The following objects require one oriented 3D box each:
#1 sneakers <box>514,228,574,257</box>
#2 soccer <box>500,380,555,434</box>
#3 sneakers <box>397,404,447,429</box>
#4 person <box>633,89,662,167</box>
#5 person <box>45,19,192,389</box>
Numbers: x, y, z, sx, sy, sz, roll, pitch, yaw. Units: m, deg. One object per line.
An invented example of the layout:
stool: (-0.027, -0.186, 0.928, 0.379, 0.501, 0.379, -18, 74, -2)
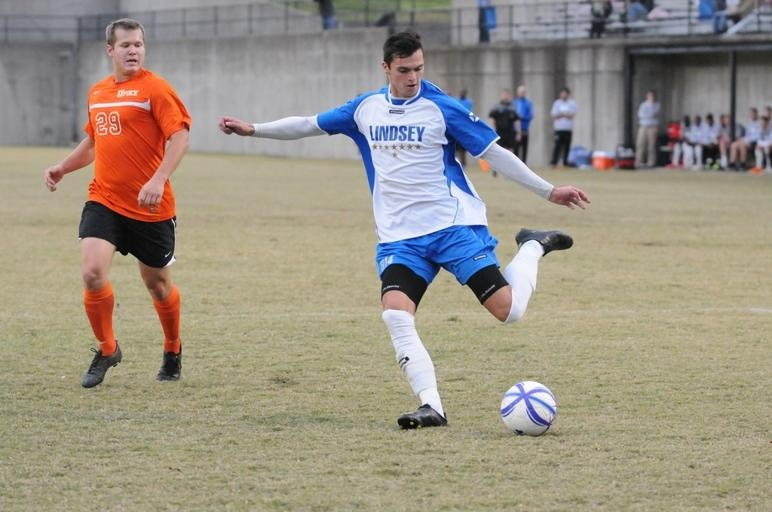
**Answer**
sneakers: (1.326, -0.164, 13.267, 0.646, 0.185, 0.263, -5, -18, -2)
soccer: (1.187, 1.262, 12.408, 0.459, 0.406, 0.416, -6, -13, 8)
sneakers: (0.293, 1.326, 12.363, 0.418, 0.180, 0.164, 5, -12, -20)
person: (2.428, -1.173, 13.860, 0.223, 0.702, 0.131, 3, 7, 17)
person: (-2.316, -0.481, 13.199, 1.109, 3.193, 0.985, -1, 7, -14)
